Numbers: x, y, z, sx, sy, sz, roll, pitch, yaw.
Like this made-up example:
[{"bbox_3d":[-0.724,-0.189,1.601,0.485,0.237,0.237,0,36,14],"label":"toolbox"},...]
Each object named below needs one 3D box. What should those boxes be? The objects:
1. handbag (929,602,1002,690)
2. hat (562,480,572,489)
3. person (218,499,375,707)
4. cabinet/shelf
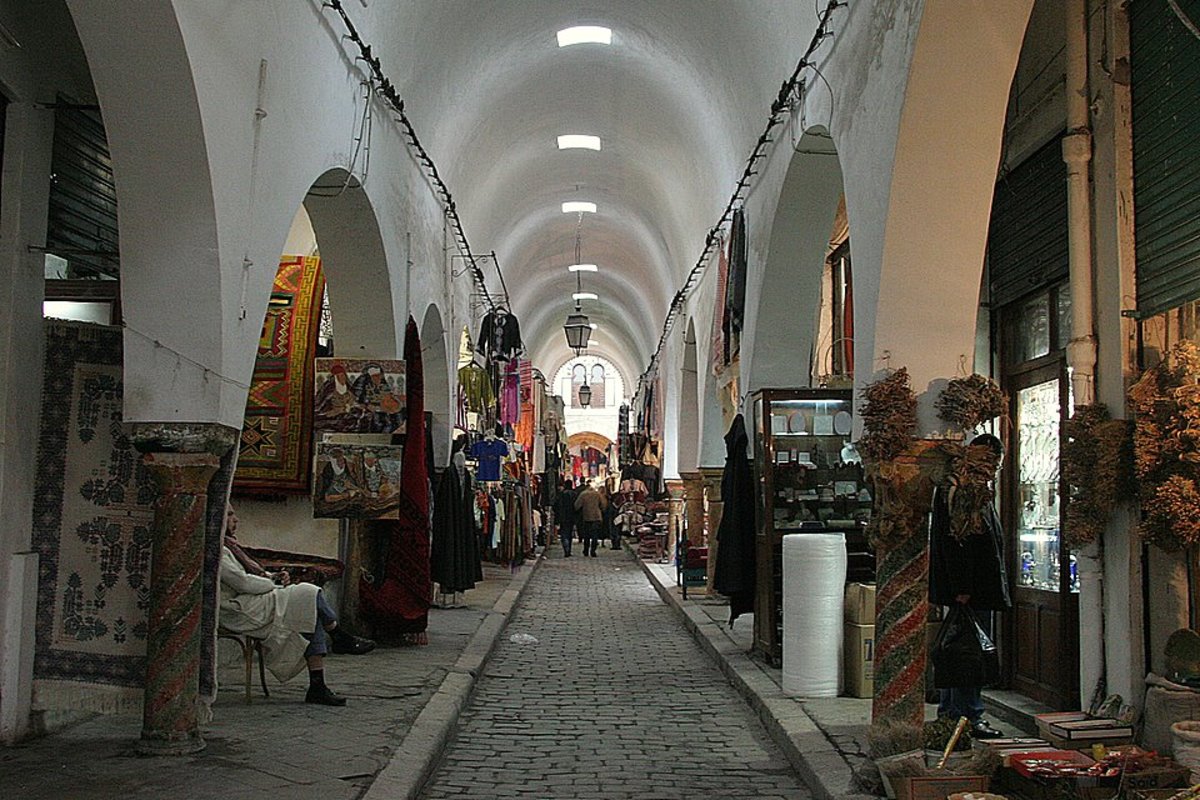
[{"bbox_3d":[2.668,1.780,7.133,0.390,0.667,0.465,6,-11,-2],"label":"handbag"},{"bbox_3d":[-0.877,2.213,25.424,0.195,0.233,0.208,2,-1,21],"label":"hat"},{"bbox_3d":[-2.676,1.735,8.141,1.023,1.536,0.608,4,-4,-19],"label":"person"},{"bbox_3d":[2.270,1.264,10.230,1.194,2.902,0.873,3,-4,-2],"label":"cabinet/shelf"}]
